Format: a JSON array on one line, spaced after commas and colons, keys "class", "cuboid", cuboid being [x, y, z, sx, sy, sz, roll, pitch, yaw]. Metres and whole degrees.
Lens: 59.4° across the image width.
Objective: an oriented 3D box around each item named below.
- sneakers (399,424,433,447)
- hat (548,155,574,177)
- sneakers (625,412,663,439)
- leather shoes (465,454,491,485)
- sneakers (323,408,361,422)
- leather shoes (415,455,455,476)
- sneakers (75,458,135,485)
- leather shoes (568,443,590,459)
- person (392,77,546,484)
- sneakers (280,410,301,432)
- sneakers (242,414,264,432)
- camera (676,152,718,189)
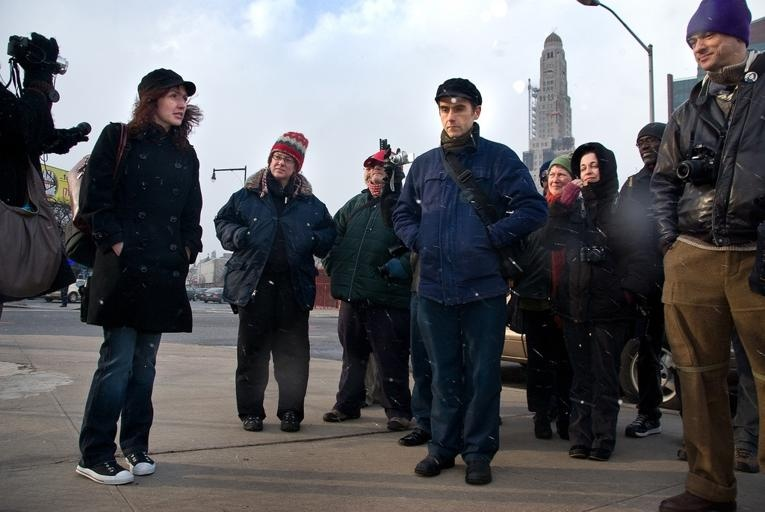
[{"class": "sneakers", "cuboid": [0.268, 1.502, 5.585, 0.298, 0.107, 0.110, 8, -12, -36]}, {"class": "hat", "cuboid": [1.659, -0.808, 6.107, 0.238, 0.176, 0.168, 6, 10, -29]}, {"class": "sneakers", "cuboid": [2.323, 1.526, 6.008, 0.438, 0.179, 0.144, 8, -11, -36]}, {"class": "leather shoes", "cuboid": [0.655, 1.484, 4.654, 0.178, 0.166, 0.157, 1, -5, 7]}, {"class": "sneakers", "cuboid": [-0.377, 1.513, 6.377, 0.372, 0.142, 0.119, 10, -15, -29]}, {"class": "leather shoes", "cuboid": [0.357, 1.509, 4.854, 0.322, 0.126, 0.112, 7, -13, -40]}, {"class": "sneakers", "cuboid": [-1.859, 1.420, 4.491, 0.354, 0.128, 0.144, -1, -8, 29]}, {"class": "leather shoes", "cuboid": [1.519, 1.535, 5.244, 0.072, 0.067, 0.183, -9, -12, 39]}, {"class": "person", "cuboid": [0.623, 0.321, 4.947, 1.106, 2.522, 0.486, 1, -5, 10]}, {"class": "sneakers", "cuboid": [-0.808, 1.442, 5.875, 0.191, 0.158, 0.228, 2, -5, -8]}, {"class": "sneakers", "cuboid": [-1.125, 1.447, 5.823, 0.182, 0.108, 0.193, 2, -5, -12]}, {"class": "camera", "cuboid": [1.931, -0.529, 4.159, 0.215, 0.126, 0.189, -2, 0, -27]}]
